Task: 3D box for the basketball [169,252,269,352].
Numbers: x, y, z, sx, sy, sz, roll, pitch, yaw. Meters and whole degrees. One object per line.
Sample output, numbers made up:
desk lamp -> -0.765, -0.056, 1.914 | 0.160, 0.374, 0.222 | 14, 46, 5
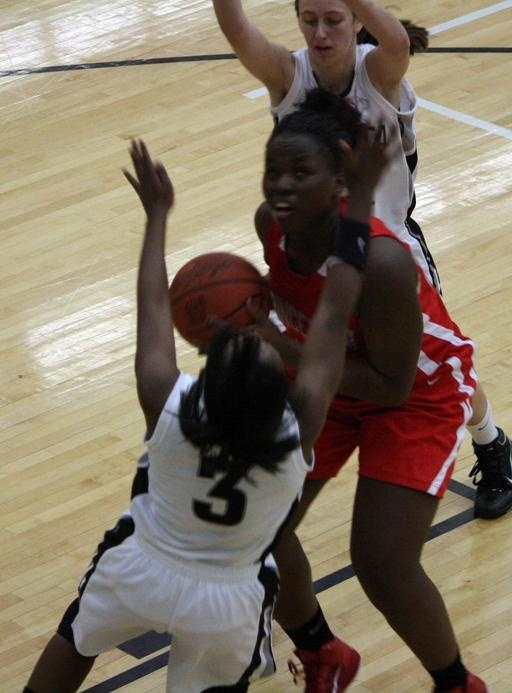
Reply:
basketball -> -0.087, -0.115, 1.209 | 0.188, 0.187, 0.167 | -14, 28, 6
